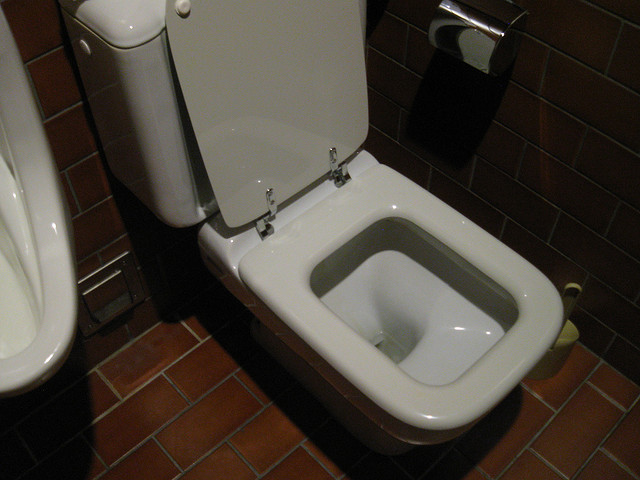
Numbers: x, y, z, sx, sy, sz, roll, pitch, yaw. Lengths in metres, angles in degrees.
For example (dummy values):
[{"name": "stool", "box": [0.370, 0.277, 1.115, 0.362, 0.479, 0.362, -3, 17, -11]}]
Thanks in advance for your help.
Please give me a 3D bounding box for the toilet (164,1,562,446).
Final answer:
[{"name": "toilet", "box": [0.118, -0.036, 1.195, 0.379, 0.792, 0.628, -35, 61, -22]}]
